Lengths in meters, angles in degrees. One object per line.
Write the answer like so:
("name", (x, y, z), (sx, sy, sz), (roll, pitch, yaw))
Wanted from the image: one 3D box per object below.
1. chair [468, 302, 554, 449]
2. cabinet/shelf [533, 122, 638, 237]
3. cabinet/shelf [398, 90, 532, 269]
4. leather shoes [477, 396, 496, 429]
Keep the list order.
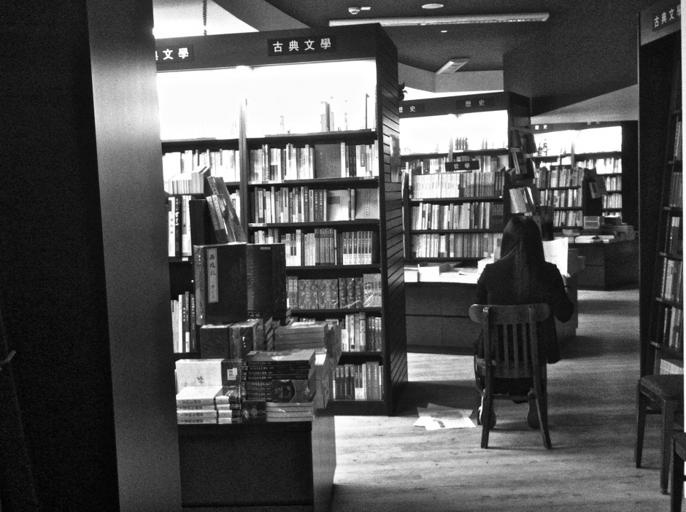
("chair", (1.238, 0.842, 5.646), (0.577, 1.038, 0.516), (0, 7, 14))
("cabinet/shelf", (5.200, -1.625, 17.573), (2.234, 2.191, 0.811), (-1, -2, -3))
("cabinet/shelf", (1.467, -0.915, 9.814), (1.344, 2.325, 0.850), (-4, -20, 20))
("leather shoes", (1.119, 1.227, 5.916), (0.128, 0.156, 0.390), (0, 1, 3))
